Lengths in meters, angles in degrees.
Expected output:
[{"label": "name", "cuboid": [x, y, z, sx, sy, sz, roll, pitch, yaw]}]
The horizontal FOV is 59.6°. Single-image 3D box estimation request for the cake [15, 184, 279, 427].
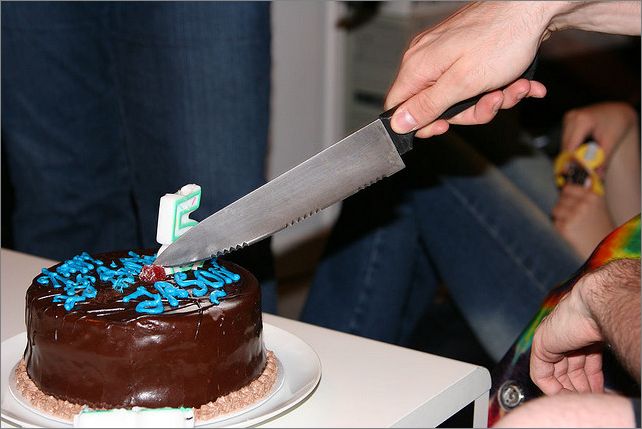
[{"label": "cake", "cuboid": [-0.385, 0.253, 1.264, 0.580, 0.184, 0.413, 8, 36, 5]}]
